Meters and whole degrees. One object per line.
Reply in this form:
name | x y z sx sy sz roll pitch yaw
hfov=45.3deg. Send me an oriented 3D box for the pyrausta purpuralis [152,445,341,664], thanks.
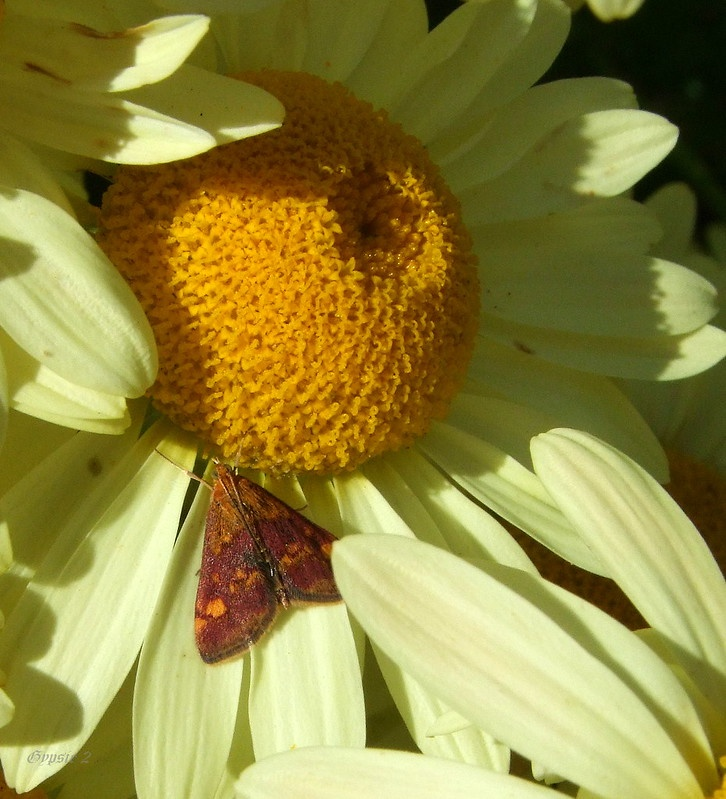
pyrausta purpuralis | -0.076 0.124 0.778 0.072 0.254 0.154 -7 67 -38
